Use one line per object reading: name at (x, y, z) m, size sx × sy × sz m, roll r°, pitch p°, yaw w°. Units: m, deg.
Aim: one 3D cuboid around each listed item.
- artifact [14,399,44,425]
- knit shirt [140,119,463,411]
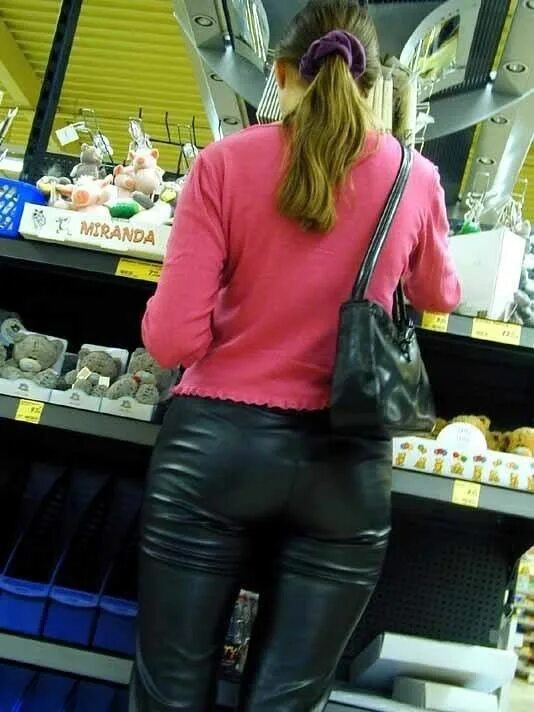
artifact at (-0.499, 0.121, 1.115) m, size 0.057 × 0.047 × 0.042 m, roll 8°, pitch 24°, yaw 7°
knit shirt at (0.074, -0.122, 0.767) m, size 0.415 × 0.388 × 0.231 m, roll 9°, pitch 7°, yaw -6°
